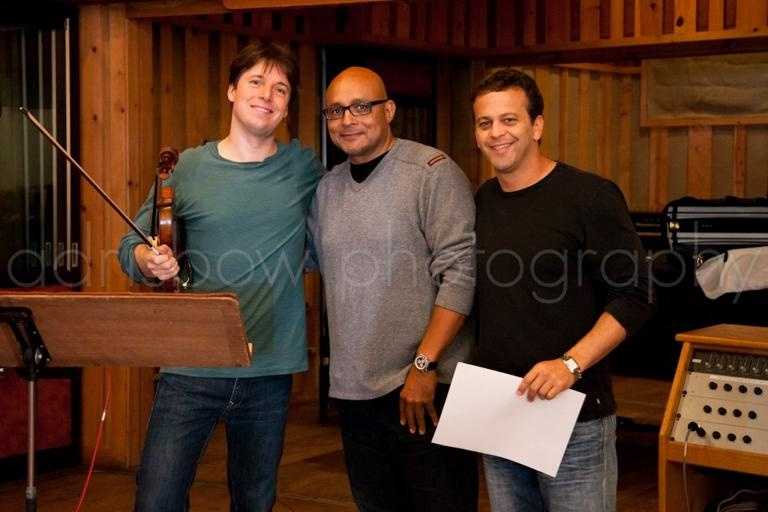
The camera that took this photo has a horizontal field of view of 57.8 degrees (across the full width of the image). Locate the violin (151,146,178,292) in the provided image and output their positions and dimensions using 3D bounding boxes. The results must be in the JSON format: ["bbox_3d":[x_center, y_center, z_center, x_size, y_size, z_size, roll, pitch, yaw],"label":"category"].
[{"bbox_3d":[-0.937,-0.210,2.932,0.085,0.513,0.210,-1,-25,-19],"label":"violin"}]

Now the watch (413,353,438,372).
[{"bbox_3d":[0.168,0.418,2.791,0.091,0.059,0.085,5,-3,44],"label":"watch"}]
